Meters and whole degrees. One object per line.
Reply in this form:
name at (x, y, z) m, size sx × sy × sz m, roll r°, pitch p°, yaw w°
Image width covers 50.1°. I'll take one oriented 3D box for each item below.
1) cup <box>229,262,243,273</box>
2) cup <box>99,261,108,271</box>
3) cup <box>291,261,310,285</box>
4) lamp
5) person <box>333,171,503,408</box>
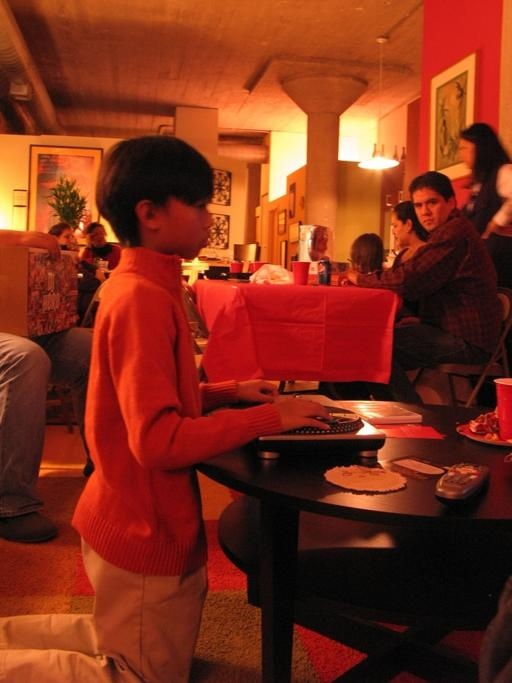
cup at (-0.123, -0.442, 3.280) m, size 0.071 × 0.051 × 0.066 m, roll 0°, pitch 4°, yaw 0°
cup at (-1.949, -0.977, 7.036) m, size 0.114 × 0.099 × 0.112 m, roll 4°, pitch 5°, yaw 0°
cup at (0.192, -0.292, 2.343) m, size 0.102 × 0.097 × 0.098 m, roll 2°, pitch 0°, yaw 0°
lamp at (1.951, -3.330, 8.515) m, size 0.639 × 1.485 × 2.858 m, roll 5°, pitch 4°, yaw 13°
person at (0.816, -0.203, 2.855) m, size 0.838 × 1.250 × 0.552 m, roll 7°, pitch 9°, yaw 9°
